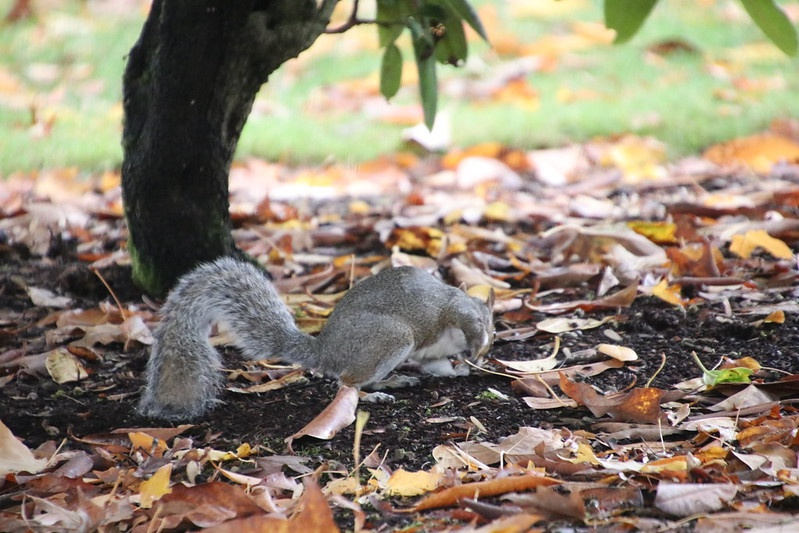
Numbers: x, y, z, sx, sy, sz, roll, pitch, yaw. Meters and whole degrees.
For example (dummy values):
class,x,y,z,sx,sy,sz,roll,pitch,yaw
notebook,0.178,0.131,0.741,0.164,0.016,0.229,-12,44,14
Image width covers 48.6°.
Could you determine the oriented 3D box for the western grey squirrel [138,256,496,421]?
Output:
class,x,y,z,sx,sy,sz,roll,pitch,yaw
western grey squirrel,-0.431,0.342,4.793,2.109,0.632,0.534,-3,7,-28
